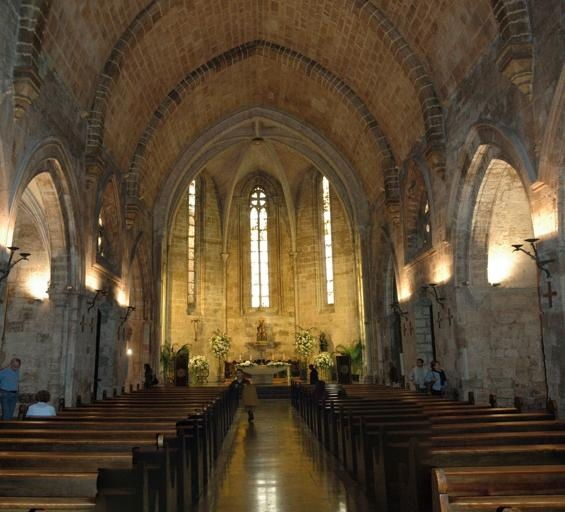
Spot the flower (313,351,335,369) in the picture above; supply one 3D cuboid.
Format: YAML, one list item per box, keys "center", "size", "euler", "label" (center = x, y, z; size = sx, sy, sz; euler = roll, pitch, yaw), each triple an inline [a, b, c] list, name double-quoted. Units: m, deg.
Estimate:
- center: [1.803, 4.542, 21.287]
  size: [0.712, 0.799, 0.798]
  euler: [1, 1, -14]
  label: "flower"

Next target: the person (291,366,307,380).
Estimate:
- center: [0.820, 5.446, 23.233]
  size: [0.677, 0.610, 0.416]
  euler: [-1, -3, 11]
  label: "person"

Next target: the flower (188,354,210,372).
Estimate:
- center: [-3.622, 4.562, 20.881]
  size: [0.577, 0.510, 0.647]
  euler: [2, -1, -13]
  label: "flower"

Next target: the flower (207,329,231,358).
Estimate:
- center: [-2.975, 4.261, 23.173]
  size: [0.939, 1.532, 1.079]
  euler: [1, -6, 8]
  label: "flower"

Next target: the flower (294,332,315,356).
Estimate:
- center: [1.083, 4.159, 23.368]
  size: [1.007, 1.286, 1.899]
  euler: [-11, -9, 0]
  label: "flower"
